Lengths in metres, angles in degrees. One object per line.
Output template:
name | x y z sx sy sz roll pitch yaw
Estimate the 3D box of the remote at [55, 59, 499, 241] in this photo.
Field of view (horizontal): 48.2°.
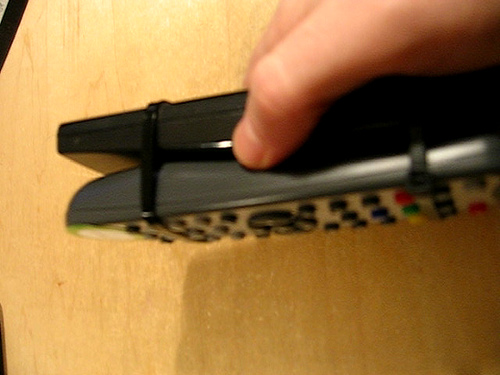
remote | 0.023 0.001 0.427 0.261 0.141 0.063 -11 82 20
